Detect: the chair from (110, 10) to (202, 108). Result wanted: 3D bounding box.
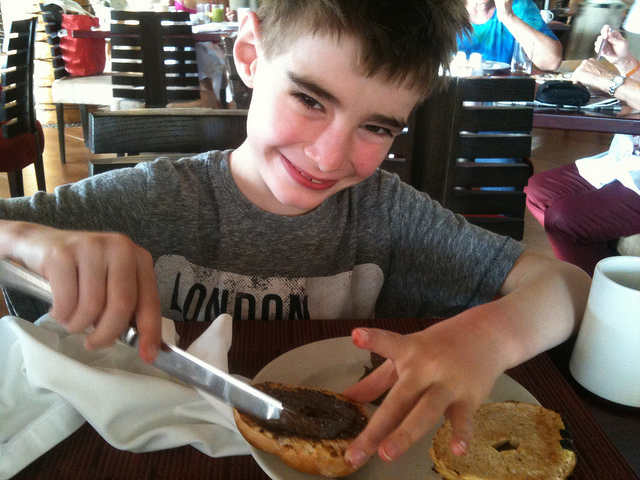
[{"bbox_3d":[-1.048,-1.166,3.256,0.560,0.581,0.321,-5,30,-22],"label":"chair"}]

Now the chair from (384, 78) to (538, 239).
[{"bbox_3d":[0.724,-0.498,2.717,0.752,0.798,0.479,6,22,3],"label":"chair"}]

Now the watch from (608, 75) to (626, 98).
[{"bbox_3d":[1.275,-0.666,2.199,0.053,0.089,0.081,21,31,24],"label":"watch"}]

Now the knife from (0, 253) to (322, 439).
[{"bbox_3d":[-0.264,0.173,0.804,0.430,0.038,0.057,30,-9,6],"label":"knife"}]

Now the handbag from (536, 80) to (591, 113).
[{"bbox_3d":[1.024,-0.623,2.150,0.184,0.076,0.190,6,31,11],"label":"handbag"}]

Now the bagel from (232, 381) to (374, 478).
[{"bbox_3d":[-0.022,0.289,0.737,0.166,0.047,0.130,20,7,1],"label":"bagel"}]

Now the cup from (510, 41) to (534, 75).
[{"bbox_3d":[0.978,-0.899,2.476,0.096,0.167,0.099,2,12,0],"label":"cup"}]

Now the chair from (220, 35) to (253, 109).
[{"bbox_3d":[-0.657,-1.434,4.105,0.260,0.492,0.262,-12,32,-19],"label":"chair"}]
